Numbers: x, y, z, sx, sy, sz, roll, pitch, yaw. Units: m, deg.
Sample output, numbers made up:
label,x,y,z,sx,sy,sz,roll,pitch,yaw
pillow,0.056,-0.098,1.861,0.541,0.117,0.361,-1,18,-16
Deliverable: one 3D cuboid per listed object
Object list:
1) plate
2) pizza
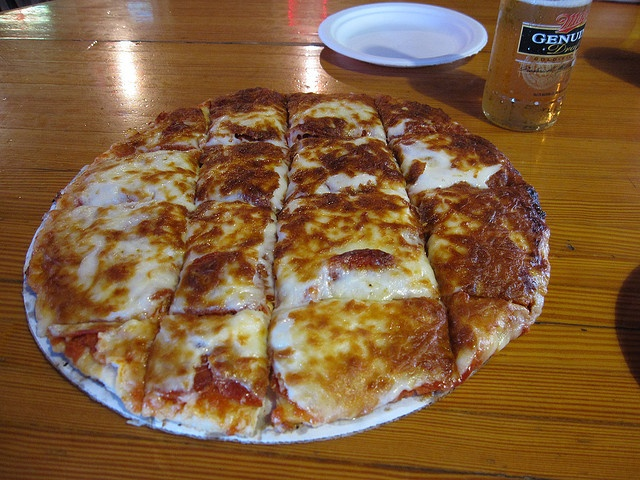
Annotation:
label,x,y,z,sx,sy,sz,roll,pitch,yaw
plate,0.380,-0.957,2.637,0.767,0.142,0.597,0,52,-1
pizza,-0.107,-0.016,1.681,1.509,0.162,1.271,17,53,13
